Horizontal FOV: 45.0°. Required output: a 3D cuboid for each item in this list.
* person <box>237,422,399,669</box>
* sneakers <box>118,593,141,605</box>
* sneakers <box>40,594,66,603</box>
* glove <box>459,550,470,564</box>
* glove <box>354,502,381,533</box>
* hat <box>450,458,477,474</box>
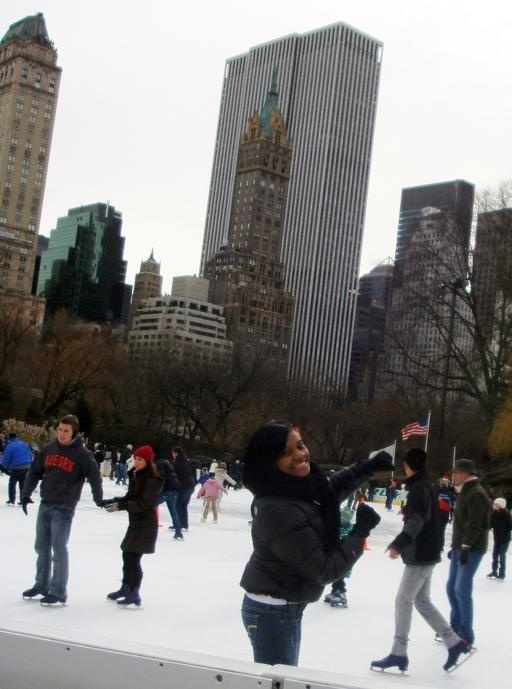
[{"bbox_3d":[0.221,0.827,2.491,0.636,1.004,0.537,0,-10,6],"label":"person"},{"bbox_3d":[-1.337,2.700,6.546,0.227,0.156,0.249,2,-10,-3],"label":"sneakers"},{"bbox_3d":[-2.022,2.563,6.184,0.120,0.102,0.210,-10,-29,26],"label":"sneakers"},{"bbox_3d":[1.899,1.933,5.659,0.096,0.115,0.122,-1,2,9],"label":"glove"},{"bbox_3d":[0.449,0.693,2.496,0.099,0.067,0.163,23,-14,2],"label":"glove"},{"bbox_3d":[2.098,1.217,6.224,0.242,0.121,0.209,2,-2,-9],"label":"hat"}]
